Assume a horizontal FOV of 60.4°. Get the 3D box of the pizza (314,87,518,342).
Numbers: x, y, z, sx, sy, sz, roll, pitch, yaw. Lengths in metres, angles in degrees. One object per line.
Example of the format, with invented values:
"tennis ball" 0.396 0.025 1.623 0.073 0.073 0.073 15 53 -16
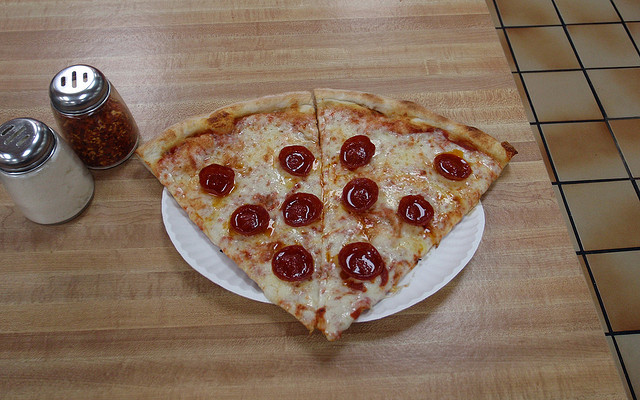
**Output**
"pizza" 0.399 0.031 3.171 1.227 0.199 1.469 14 64 9
